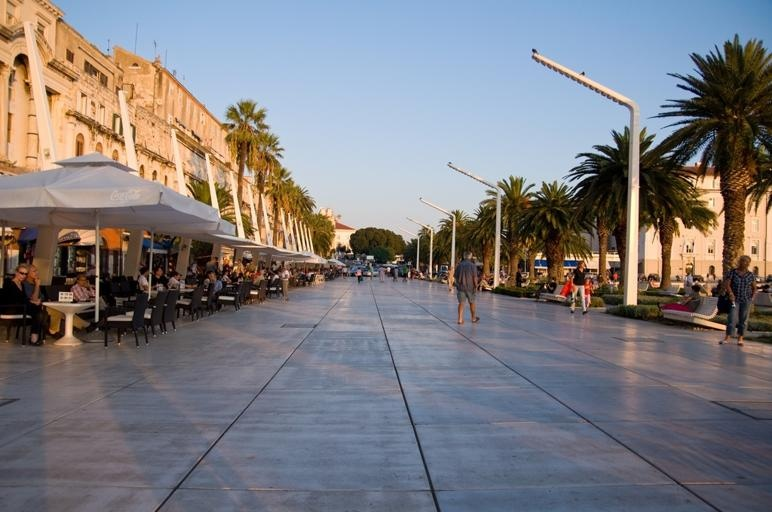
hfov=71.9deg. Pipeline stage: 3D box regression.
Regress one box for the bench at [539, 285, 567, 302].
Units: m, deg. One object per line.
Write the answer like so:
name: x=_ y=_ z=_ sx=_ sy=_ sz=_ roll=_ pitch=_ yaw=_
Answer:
bench: x=9.759 y=2.314 z=30.484 sx=0.870 sy=0.838 sz=1.848 roll=37 pitch=-22 yaw=-22

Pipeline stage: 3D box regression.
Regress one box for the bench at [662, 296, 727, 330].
bench: x=10.967 y=1.874 z=18.845 sx=1.320 sy=0.839 sz=2.220 roll=0 pitch=0 yaw=3
